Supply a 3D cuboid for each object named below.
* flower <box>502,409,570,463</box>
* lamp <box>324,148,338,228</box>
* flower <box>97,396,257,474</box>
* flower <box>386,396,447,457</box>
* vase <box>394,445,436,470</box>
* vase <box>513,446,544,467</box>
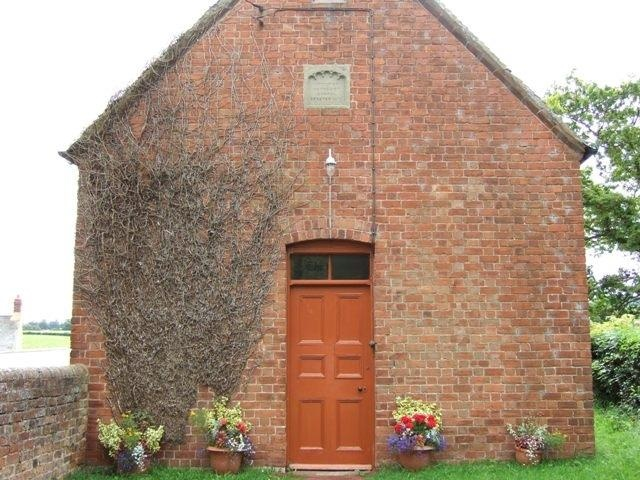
[{"bbox_3d":[3.374,3.295,11.491,0.535,0.674,0.644,6,-8,35],"label":"flower"},{"bbox_3d":[0.181,-0.847,11.804,0.213,1.457,0.424,-2,-16,4],"label":"lamp"},{"bbox_3d":[-2.255,3.248,11.670,2.176,1.129,1.173,-1,-10,-1],"label":"flower"},{"bbox_3d":[1.550,3.065,11.483,0.888,0.562,0.895,-6,-5,-33],"label":"flower"},{"bbox_3d":[1.503,3.371,11.269,0.416,0.256,0.434,2,-8,-17],"label":"vase"},{"bbox_3d":[3.316,3.450,11.348,0.283,0.178,0.284,8,-13,-35],"label":"vase"}]
